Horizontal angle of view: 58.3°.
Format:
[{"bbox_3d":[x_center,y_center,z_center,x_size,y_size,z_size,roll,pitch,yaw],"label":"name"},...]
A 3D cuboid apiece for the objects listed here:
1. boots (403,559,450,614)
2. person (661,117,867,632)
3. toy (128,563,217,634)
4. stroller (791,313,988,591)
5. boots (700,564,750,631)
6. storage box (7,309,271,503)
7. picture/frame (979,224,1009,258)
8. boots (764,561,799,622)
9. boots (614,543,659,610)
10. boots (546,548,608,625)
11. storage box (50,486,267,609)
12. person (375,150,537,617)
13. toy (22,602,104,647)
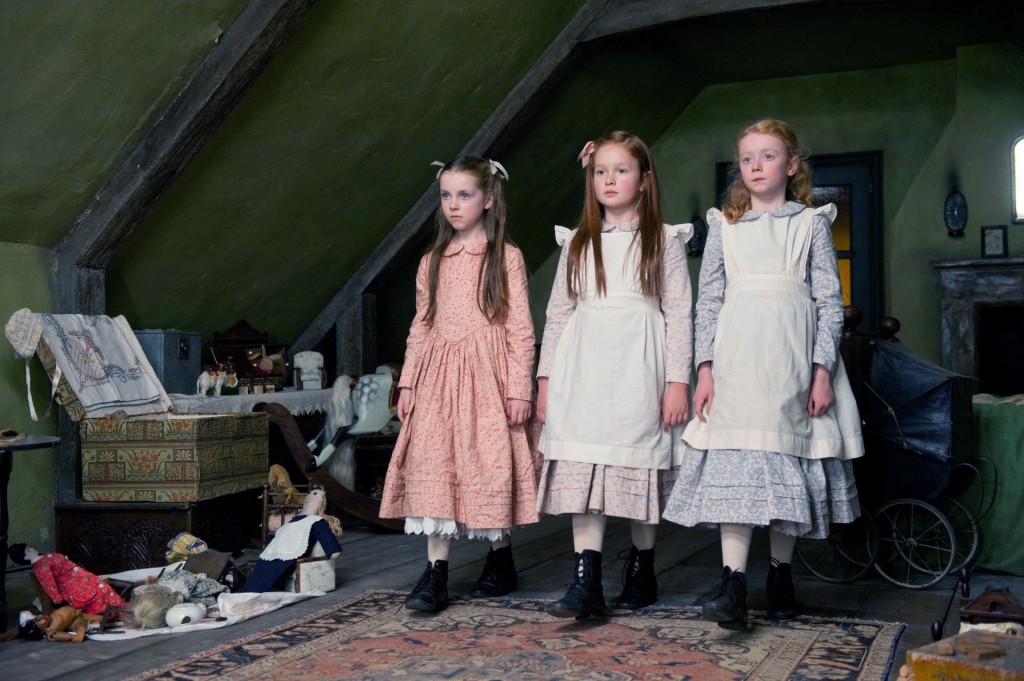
[{"bbox_3d":[-0.342,0.987,3.711,0.124,0.210,0.350,-1,-8,14],"label":"boots"},{"bbox_3d":[0.932,0.093,3.518,0.728,1.979,0.495,-2,3,-21],"label":"person"},{"bbox_3d":[-1.369,1.032,3.687,0.213,0.102,0.218,-1,11,-11],"label":"toy"},{"bbox_3d":[1.725,0.640,4.704,1.072,1.459,0.792,-5,-7,22],"label":"stroller"},{"bbox_3d":[0.760,0.924,3.304,0.104,0.217,0.296,-8,-22,37],"label":"boots"},{"bbox_3d":[-1.763,0.342,4.552,0.961,0.915,0.999,-1,-1,9],"label":"storage box"},{"bbox_3d":[3.623,-0.791,6.930,0.252,0.342,0.035,1,-5,20],"label":"picture/frame"},{"bbox_3d":[1.042,0.985,3.577,0.104,0.228,0.307,5,4,7],"label":"boots"},{"bbox_3d":[0.504,0.967,3.749,0.117,0.223,0.317,-3,3,26],"label":"boots"},{"bbox_3d":[0.246,0.933,3.513,0.109,0.221,0.278,-1,-3,42],"label":"boots"},{"bbox_3d":[-1.668,0.904,4.215,0.516,0.337,0.534,-1,-3,24],"label":"storage box"},{"bbox_3d":[-0.232,0.140,3.805,0.641,1.891,0.485,-1,3,-7],"label":"person"},{"bbox_3d":[-1.731,1.077,3.493,0.192,0.071,0.141,0,4,-41],"label":"toy"}]
